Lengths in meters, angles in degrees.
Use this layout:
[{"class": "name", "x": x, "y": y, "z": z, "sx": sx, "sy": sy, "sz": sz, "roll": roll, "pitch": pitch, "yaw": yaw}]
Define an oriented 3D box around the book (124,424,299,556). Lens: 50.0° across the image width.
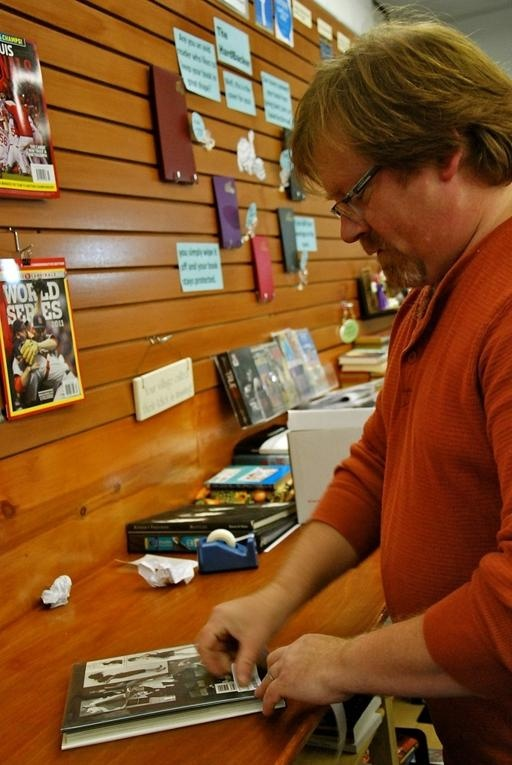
[{"class": "book", "x": -0.129, "y": 0.291, "z": 1.452, "sx": 0.298, "sy": 0.134, "sz": 0.408, "roll": -7, "pitch": -2, "yaw": 8}]
